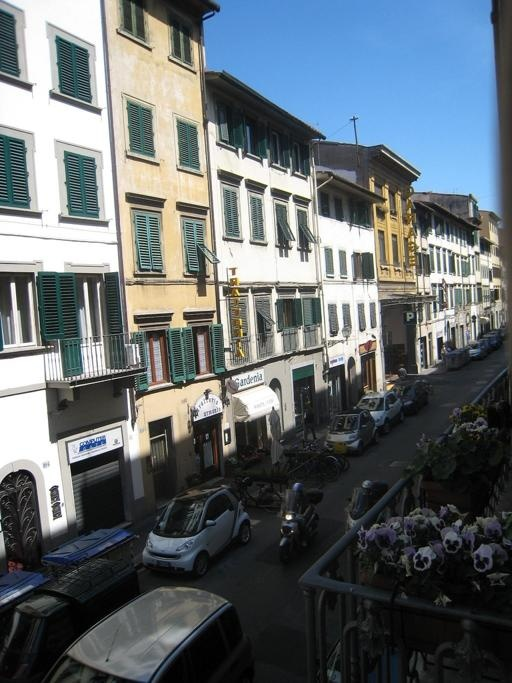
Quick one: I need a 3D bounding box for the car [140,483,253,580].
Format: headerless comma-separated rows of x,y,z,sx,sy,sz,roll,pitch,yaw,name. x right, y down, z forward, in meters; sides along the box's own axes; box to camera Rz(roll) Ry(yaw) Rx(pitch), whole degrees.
-1.307,4.116,12.701,1.199,1.201,2.131,-9,-8,24,car

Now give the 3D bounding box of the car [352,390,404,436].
5.439,3.065,25.753,1.303,1.244,2.275,-5,-2,30,car

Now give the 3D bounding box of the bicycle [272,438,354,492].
1.800,4.158,19.358,2.465,1.528,1.132,-3,-21,1,bicycle

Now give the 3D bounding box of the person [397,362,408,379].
10.824,2.416,43.176,0.836,0.909,1.573,-2,16,6,person
